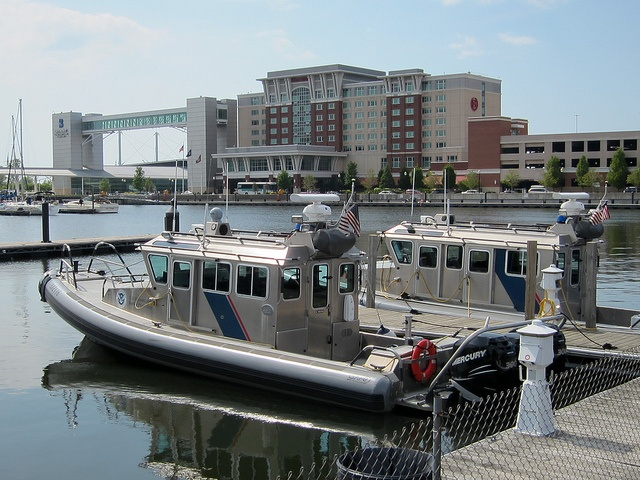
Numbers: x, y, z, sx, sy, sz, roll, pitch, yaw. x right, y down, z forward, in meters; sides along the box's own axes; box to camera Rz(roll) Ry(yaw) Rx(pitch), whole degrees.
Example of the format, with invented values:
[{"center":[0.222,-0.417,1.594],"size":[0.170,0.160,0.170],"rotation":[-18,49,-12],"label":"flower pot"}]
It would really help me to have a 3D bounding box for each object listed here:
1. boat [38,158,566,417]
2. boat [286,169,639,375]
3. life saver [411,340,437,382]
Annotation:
[{"center":[-1.210,1.070,15.393],"size":[9.930,3.886,2.123],"rotation":[0,9,30],"label":"boat"},{"center":[2.424,0.289,20.439],"size":[10.167,4.634,3.179],"rotation":[7,7,37],"label":"boat"},{"center":[1.846,2.124,13.829],"size":[0.559,0.525,0.138],"rotation":[37,-21,-34],"label":"life saver"}]
